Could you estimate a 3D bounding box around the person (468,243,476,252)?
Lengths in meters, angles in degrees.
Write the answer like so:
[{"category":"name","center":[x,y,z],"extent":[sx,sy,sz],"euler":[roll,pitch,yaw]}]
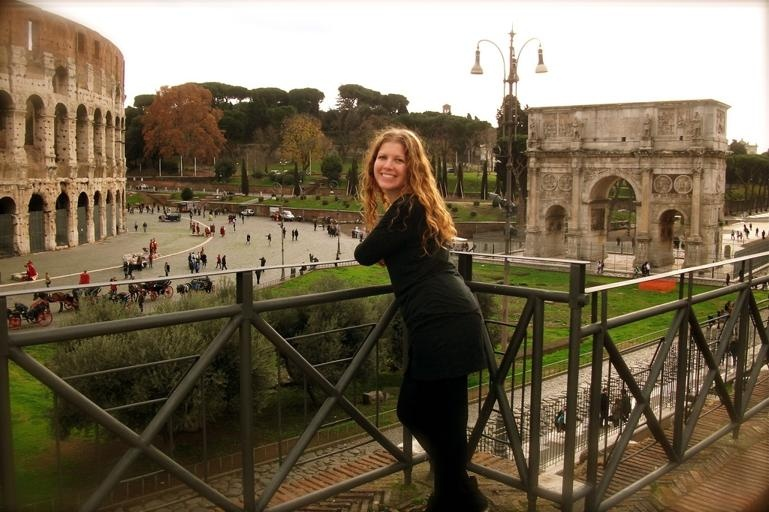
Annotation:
[{"category":"person","center":[6.862,-0.703,51.466],"extent":[0.835,0.817,1.020],"euler":[-1,-3,6]}]
